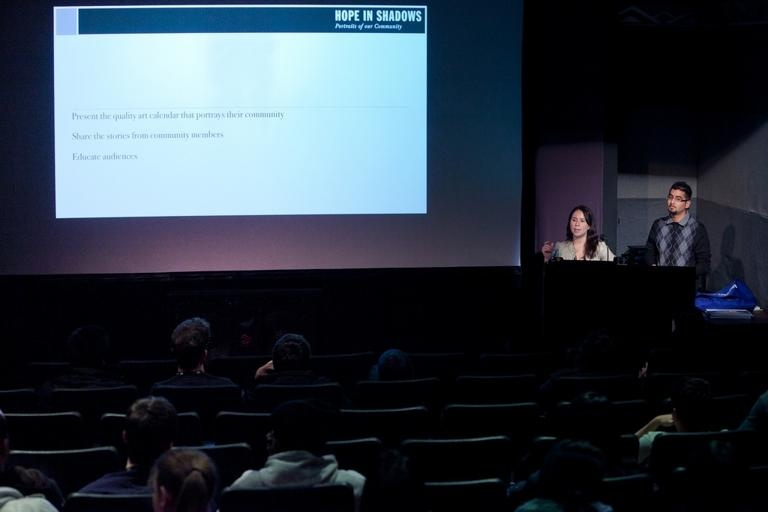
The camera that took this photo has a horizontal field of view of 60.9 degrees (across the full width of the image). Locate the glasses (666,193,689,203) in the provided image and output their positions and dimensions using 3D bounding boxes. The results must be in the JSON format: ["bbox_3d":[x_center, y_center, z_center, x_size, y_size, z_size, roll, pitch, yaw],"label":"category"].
[{"bbox_3d":[3.702,-0.728,8.123,0.243,0.129,0.146,0,-1,21],"label":"glasses"}]

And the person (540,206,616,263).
[{"bbox_3d":[2.214,-0.279,7.576,0.763,0.634,0.786,0,-1,-9],"label":"person"}]
